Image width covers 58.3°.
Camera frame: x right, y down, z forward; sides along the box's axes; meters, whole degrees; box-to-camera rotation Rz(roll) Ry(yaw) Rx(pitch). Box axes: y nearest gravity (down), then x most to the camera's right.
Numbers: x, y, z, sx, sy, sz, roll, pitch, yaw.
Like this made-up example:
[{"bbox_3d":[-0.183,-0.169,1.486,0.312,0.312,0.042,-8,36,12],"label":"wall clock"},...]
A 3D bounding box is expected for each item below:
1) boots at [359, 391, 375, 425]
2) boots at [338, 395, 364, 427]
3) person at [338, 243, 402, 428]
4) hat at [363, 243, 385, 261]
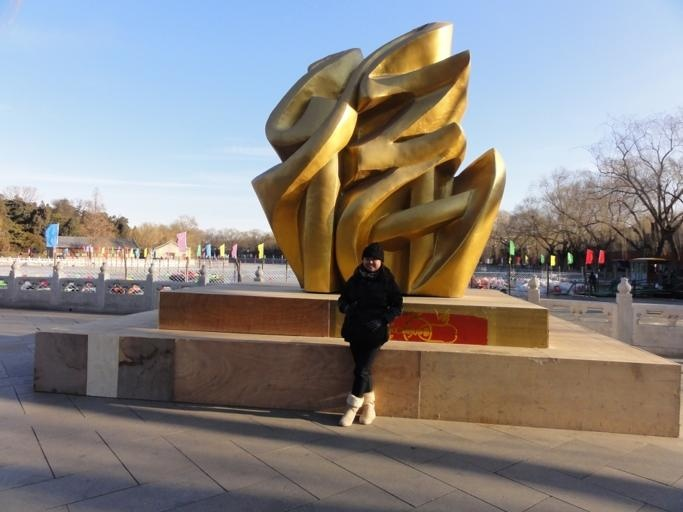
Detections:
[{"bbox_3d":[0.296,1.786,7.159,0.142,0.283,0.387,-5,6,5],"label":"boots"},{"bbox_3d":[0.160,1.743,7.093,0.158,0.244,0.507,5,21,17],"label":"boots"},{"bbox_3d":[0.339,0.897,7.074,0.741,2.056,0.532,-2,14,-10],"label":"person"},{"bbox_3d":[0.396,-0.036,7.082,0.187,0.167,0.204,4,-7,1],"label":"hat"}]
